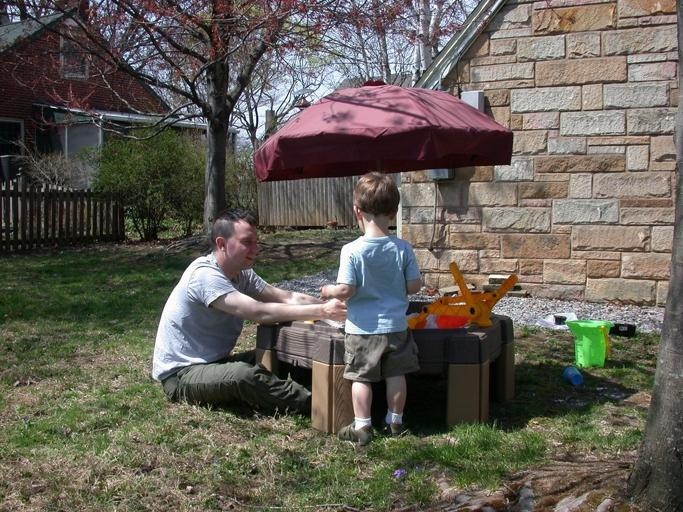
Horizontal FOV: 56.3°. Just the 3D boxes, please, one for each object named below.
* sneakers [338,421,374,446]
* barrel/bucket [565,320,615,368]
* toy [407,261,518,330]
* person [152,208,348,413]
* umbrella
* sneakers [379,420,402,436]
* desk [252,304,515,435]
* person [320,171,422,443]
[{"bbox_3d":[0.098,1.214,4.379,0.227,0.110,0.112,4,5,38],"label":"sneakers"},{"bbox_3d":[2.243,0.768,5.967,0.420,0.482,0.382,-3,8,0],"label":"barrel/bucket"},{"bbox_3d":[0.900,0.342,4.974,0.668,0.349,0.548,-5,0,39],"label":"toy"},{"bbox_3d":[-0.761,0.444,5.040,1.363,1.517,1.127,3,3,23],"label":"person"},{"bbox_3d":[0.473,-0.995,5.131,1.603,0.578,1.619,-6,7,-26],"label":"umbrella"},{"bbox_3d":[0.338,1.196,4.465,0.067,0.084,0.181,0,2,-26],"label":"sneakers"},{"bbox_3d":[0.315,0.830,4.680,1.134,0.443,1.157,-1,2,43],"label":"desk"},{"bbox_3d":[0.212,0.346,4.396,0.637,1.839,0.317,0,2,7],"label":"person"}]
